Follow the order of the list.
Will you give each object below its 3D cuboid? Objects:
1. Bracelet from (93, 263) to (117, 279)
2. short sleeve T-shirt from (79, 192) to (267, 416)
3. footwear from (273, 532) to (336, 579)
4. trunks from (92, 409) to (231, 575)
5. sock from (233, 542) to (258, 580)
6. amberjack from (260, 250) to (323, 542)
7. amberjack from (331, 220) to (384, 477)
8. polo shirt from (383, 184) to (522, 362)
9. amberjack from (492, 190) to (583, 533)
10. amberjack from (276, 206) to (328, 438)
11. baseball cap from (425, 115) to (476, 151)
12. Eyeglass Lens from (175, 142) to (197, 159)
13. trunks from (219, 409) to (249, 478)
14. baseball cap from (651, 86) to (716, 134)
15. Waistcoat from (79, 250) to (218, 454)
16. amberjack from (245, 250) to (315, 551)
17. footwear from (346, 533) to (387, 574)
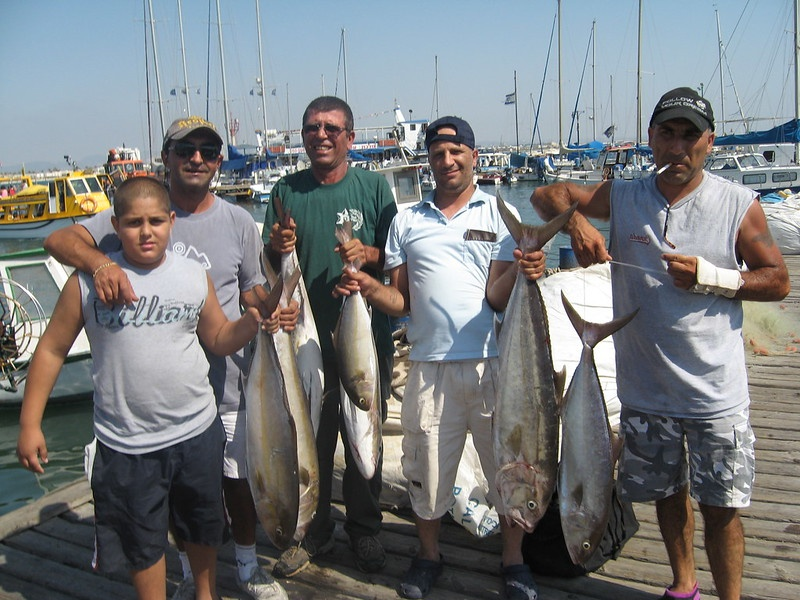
[{"bbox_3d":[-1.376,-0.140,3.270,0.113,0.078,0.109,-8,16,-28],"label":"Bracelet"},{"bbox_3d":[-1.110,0.034,3.447,1.007,1.340,0.444,-2,1,-42],"label":"short sleeve T-shirt"},{"bbox_3d":[-0.534,1.441,4.030,0.127,0.172,0.374,29,26,28],"label":"footwear"},{"bbox_3d":[-1.200,0.889,3.553,0.453,0.895,0.621,20,17,38],"label":"trunks"},{"bbox_3d":[-0.820,1.391,3.742,0.126,0.185,0.052,-1,8,15],"label":"sock"},{"bbox_3d":[-0.567,0.515,3.592,0.208,1.588,0.546,-6,-13,-18],"label":"amberjack"},{"bbox_3d":[-0.206,0.438,3.713,0.201,0.950,0.287,-9,15,-33],"label":"amberjack"},{"bbox_3d":[0.288,-0.131,3.751,0.844,1.159,0.426,-1,-4,12],"label":"polo shirt"},{"bbox_3d":[0.601,0.390,3.462,0.527,1.791,0.425,-7,41,-2],"label":"amberjack"},{"bbox_3d":[-0.517,0.145,3.833,0.239,1.211,0.370,-14,-15,18],"label":"amberjack"},{"bbox_3d":[0.272,-0.901,3.801,0.265,0.172,0.206,1,14,6],"label":"baseball cap"},{"bbox_3d":[-1.104,-0.769,3.610,0.103,0.082,0.031,-5,13,-16],"label":"Eyeglass Lens"},{"bbox_3d":[-0.881,0.813,3.758,0.128,0.268,0.184,-1,6,-15],"label":"trunks"},{"bbox_3d":[1.373,-0.916,3.385,0.288,0.204,0.166,3,14,15],"label":"baseball cap"},{"bbox_3d":[-1.212,0.217,3.447,0.558,0.919,0.445,-10,26,-34],"label":"Waistcoat"},{"bbox_3d":[-0.601,0.469,3.644,0.302,1.473,0.509,-2,-9,-44],"label":"amberjack"},{"bbox_3d":[-0.188,1.429,4.020,0.187,0.199,0.439,0,0,-18],"label":"footwear"}]
